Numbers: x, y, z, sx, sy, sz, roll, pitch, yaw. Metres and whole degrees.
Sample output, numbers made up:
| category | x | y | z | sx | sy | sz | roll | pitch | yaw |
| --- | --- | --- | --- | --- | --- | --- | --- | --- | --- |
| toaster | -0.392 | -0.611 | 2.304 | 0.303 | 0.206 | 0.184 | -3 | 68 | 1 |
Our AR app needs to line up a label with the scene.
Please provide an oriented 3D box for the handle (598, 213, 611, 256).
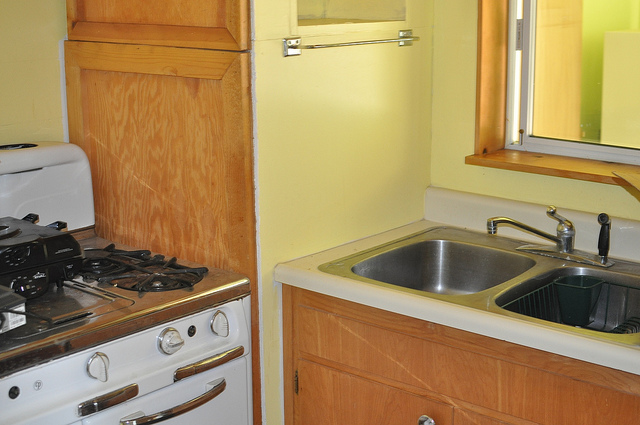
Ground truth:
| category | x | y | z | sx | sy | sz | roll | pitch | yaw |
| --- | --- | --- | --- | --- | --- | --- | --- | --- | --- |
| handle | 1.060 | 0.079 | 2.054 | 0.042 | 0.166 | 0.113 | 8 | 18 | 31 |

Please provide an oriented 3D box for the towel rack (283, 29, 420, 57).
| category | x | y | z | sx | sy | sz | roll | pitch | yaw |
| --- | --- | --- | --- | --- | --- | --- | --- | --- | --- |
| towel rack | 0.145 | -0.667 | 2.137 | 0.702 | 0.126 | 0.042 | -12 | 19 | -39 |

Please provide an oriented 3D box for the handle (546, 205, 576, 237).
| category | x | y | z | sx | sy | sz | roll | pitch | yaw |
| --- | --- | --- | --- | --- | --- | --- | --- | --- | --- |
| handle | 0.935 | 0.027 | 2.127 | 0.098 | 0.119 | 0.163 | 5 | 16 | 23 |

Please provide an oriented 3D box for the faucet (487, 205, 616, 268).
| category | x | y | z | sx | sy | sz | roll | pitch | yaw |
| --- | --- | --- | --- | --- | --- | --- | --- | --- | --- |
| faucet | 0.929 | 0.103 | 2.167 | 0.547 | 0.205 | 0.142 | 13 | 21 | 31 |
